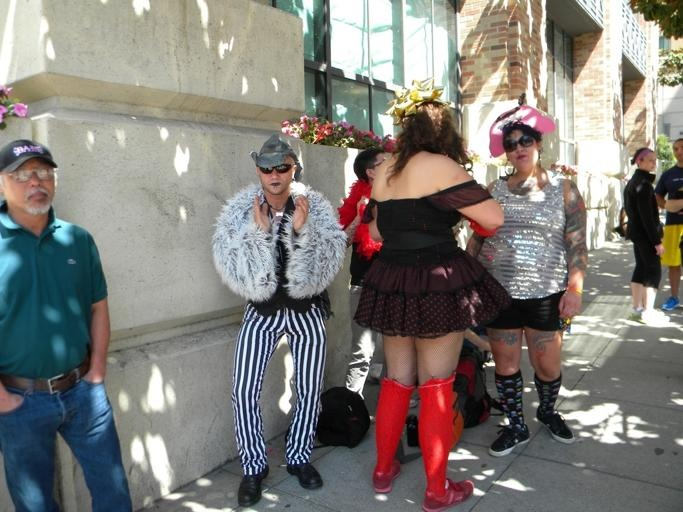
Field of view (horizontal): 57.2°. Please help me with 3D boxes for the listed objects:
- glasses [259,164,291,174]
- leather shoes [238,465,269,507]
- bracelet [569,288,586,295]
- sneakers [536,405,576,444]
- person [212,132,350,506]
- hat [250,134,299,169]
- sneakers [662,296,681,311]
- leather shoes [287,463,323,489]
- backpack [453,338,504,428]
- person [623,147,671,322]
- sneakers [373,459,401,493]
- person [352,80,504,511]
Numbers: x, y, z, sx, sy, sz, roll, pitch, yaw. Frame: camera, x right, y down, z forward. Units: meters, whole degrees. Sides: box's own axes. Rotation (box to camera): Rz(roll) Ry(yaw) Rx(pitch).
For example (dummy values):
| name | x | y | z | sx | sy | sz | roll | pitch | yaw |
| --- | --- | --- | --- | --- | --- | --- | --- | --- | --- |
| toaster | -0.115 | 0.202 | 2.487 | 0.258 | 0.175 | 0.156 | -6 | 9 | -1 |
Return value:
| name | x | y | z | sx | sy | sz | roll | pitch | yaw |
| --- | --- | --- | --- | --- | --- | --- | --- | --- | --- |
| glasses | -0.440 | -0.581 | 4.196 | 0.205 | 0.062 | 0.051 | -2 | 8 | -6 |
| leather shoes | -0.618 | 1.571 | 4.245 | 0.171 | 0.175 | 0.158 | -4 | 9 | -16 |
| bracelet | 1.681 | 0.245 | 4.514 | 0.137 | 0.053 | 0.067 | -4 | 9 | -18 |
| sneakers | 1.621 | 1.293 | 4.842 | 0.127 | 0.144 | 0.351 | -12 | 13 | -18 |
| person | -0.416 | 0.405 | 4.332 | 0.878 | 2.442 | 0.550 | -3 | 9 | -12 |
| hat | -0.472 | -0.742 | 4.335 | 0.312 | 0.191 | 0.418 | -1 | 16 | 9 |
| sneakers | 4.170 | 0.598 | 7.930 | 0.313 | 0.141 | 0.114 | -4 | 7 | -35 |
| leather shoes | -0.252 | 1.525 | 4.367 | 0.246 | 0.109 | 0.112 | 4 | 5 | 44 |
| backpack | 1.055 | 0.999 | 4.891 | 0.322 | 0.659 | 0.561 | 2 | 31 | 18 |
| person | 3.567 | -0.239 | 7.349 | 0.543 | 2.027 | 0.738 | 3 | 9 | 25 |
| sneakers | 0.307 | 1.515 | 4.328 | 0.098 | 0.117 | 0.275 | -1 | 8 | 19 |
| person | 0.554 | 0.246 | 4.094 | 0.945 | 2.747 | 0.527 | 1 | 9 | 14 |
